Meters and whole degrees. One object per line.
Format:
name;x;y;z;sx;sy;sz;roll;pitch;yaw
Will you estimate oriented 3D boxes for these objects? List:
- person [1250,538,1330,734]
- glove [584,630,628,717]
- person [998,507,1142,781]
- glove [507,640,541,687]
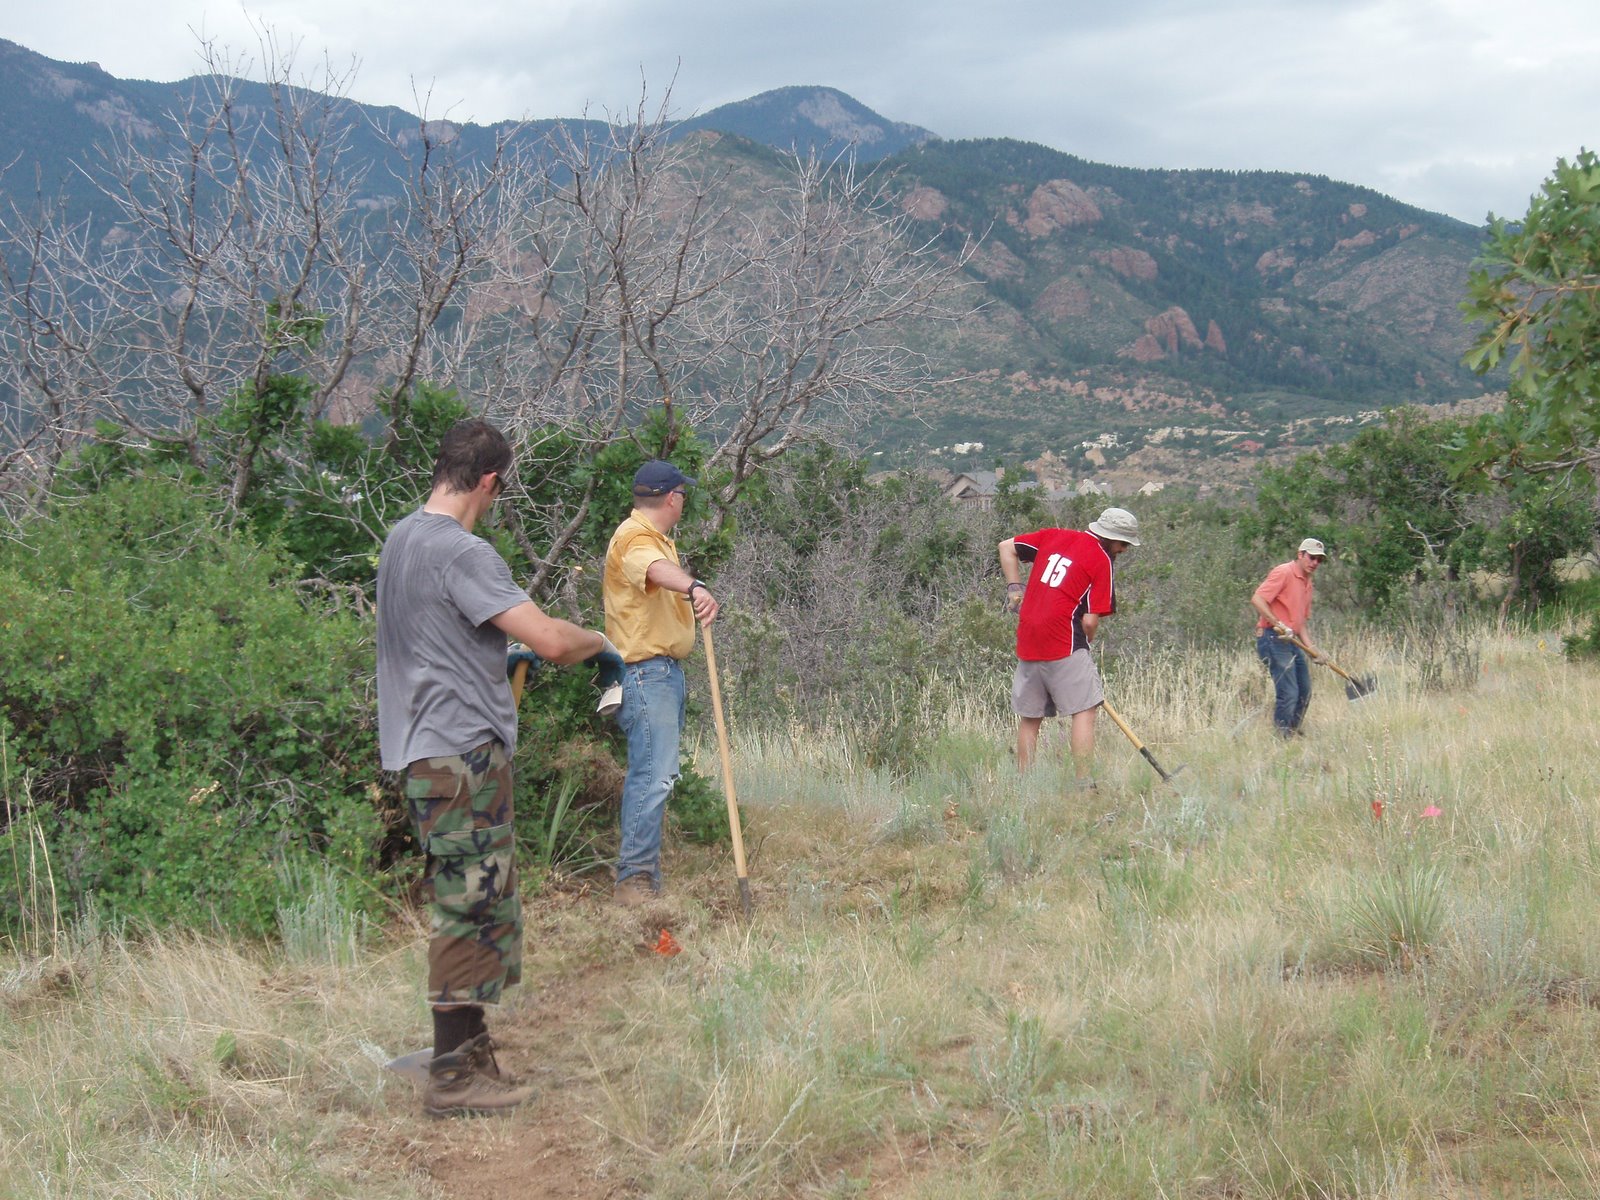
person;4.312;0.284;15.923;0.530;1.694;1.220;4;10;16
glove;-1.198;0.491;11.112;0.293;0.451;0.810;-1;11;-8
person;2.011;0.302;13.936;0.844;2.032;0.782;4;10;18
glove;-1.636;0.370;10.387;0.104;0.305;0.206;8;5;20
